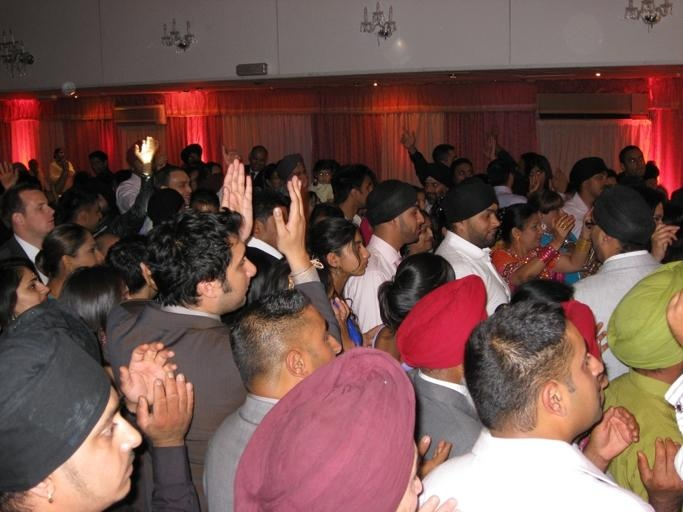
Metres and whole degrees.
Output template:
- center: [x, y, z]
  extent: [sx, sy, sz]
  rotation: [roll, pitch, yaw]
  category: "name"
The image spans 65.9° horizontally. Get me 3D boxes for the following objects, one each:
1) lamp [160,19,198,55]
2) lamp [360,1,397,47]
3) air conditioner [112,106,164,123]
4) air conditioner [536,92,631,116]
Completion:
- center: [-2.003, -2.690, 6.445]
  extent: [0.449, 0.388, 0.256]
  rotation: [10, 15, 43]
  category: "lamp"
- center: [0.431, -2.515, 5.871]
  extent: [0.367, 0.503, 0.383]
  rotation: [-3, -8, 32]
  category: "lamp"
- center: [-3.678, -2.580, 9.630]
  extent: [1.042, 0.325, 0.155]
  rotation: [4, 11, 20]
  category: "air conditioner"
- center: [3.526, -2.220, 7.687]
  extent: [1.278, 0.310, 0.082]
  rotation: [3, 11, 14]
  category: "air conditioner"
